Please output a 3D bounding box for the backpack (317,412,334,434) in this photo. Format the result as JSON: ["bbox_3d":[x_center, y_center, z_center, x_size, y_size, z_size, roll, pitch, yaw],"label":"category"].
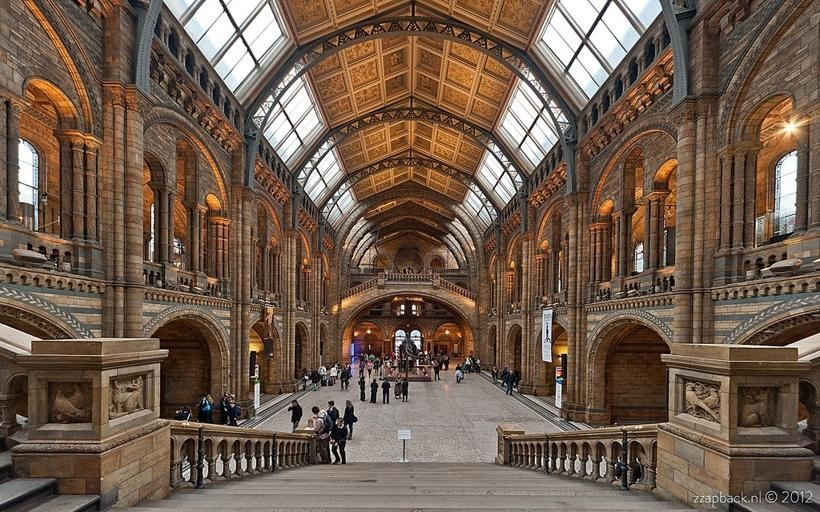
[{"bbox_3d":[-2.629,5.173,18.393,0.636,0.609,0.466,-1,-6,-8],"label":"backpack"}]

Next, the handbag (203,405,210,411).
[{"bbox_3d":[-6.962,5.249,20.458,0.213,0.153,0.213,4,11,30],"label":"handbag"}]
